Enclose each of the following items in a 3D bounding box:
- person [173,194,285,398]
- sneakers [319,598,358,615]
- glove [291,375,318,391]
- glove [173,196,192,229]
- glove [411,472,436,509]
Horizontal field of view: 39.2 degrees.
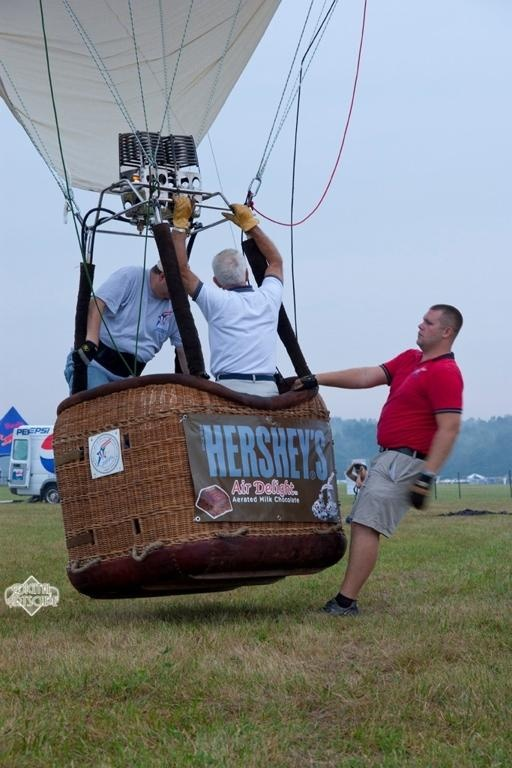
[{"bbox_3d":[-0.126,-0.574,4.120,0.553,1.372,0.781,-10,-9,3],"label":"person"},{"bbox_3d":[0.464,1.246,4.031,0.217,0.084,0.071,3,-10,3],"label":"sneakers"},{"bbox_3d":[0.284,-0.011,4.211,0.127,0.046,0.087,-8,4,-20],"label":"glove"},{"bbox_3d":[-0.405,-0.966,4.113,0.132,0.216,0.105,-3,-11,1],"label":"glove"},{"bbox_3d":[0.938,0.602,4.073,0.159,0.200,0.055,16,-2,16],"label":"glove"}]
